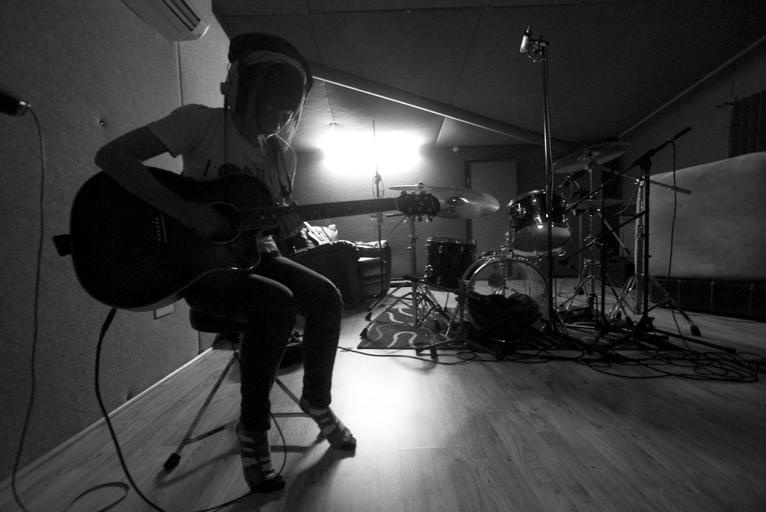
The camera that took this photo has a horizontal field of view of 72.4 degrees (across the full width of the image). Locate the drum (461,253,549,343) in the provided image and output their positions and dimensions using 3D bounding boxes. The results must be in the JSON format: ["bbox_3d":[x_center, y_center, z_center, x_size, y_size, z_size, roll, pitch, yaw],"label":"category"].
[{"bbox_3d":[0.991,0.317,4.272,0.653,0.716,0.775,0,-3,16],"label":"drum"}]

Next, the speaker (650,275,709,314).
[{"bbox_3d":[2.855,0.347,5.028,0.647,0.420,0.373,-1,3,37],"label":"speaker"}]

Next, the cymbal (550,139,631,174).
[{"bbox_3d":[1.753,-0.790,4.489,0.567,0.242,0.926,0,-3,19],"label":"cymbal"}]

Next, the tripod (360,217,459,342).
[{"bbox_3d":[0.276,0.197,4.886,1.037,1.258,0.906,4,6,5],"label":"tripod"}]

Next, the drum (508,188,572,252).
[{"bbox_3d":[1.337,-0.242,4.433,0.559,0.387,0.536,2,-27,1],"label":"drum"}]

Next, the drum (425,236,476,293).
[{"bbox_3d":[0.539,0.041,4.472,0.450,0.411,0.439,-4,13,-25],"label":"drum"}]

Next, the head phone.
[{"bbox_3d":[-0.573,-0.921,2.694,0.335,0.129,0.264,5,6,15],"label":"head phone"}]
